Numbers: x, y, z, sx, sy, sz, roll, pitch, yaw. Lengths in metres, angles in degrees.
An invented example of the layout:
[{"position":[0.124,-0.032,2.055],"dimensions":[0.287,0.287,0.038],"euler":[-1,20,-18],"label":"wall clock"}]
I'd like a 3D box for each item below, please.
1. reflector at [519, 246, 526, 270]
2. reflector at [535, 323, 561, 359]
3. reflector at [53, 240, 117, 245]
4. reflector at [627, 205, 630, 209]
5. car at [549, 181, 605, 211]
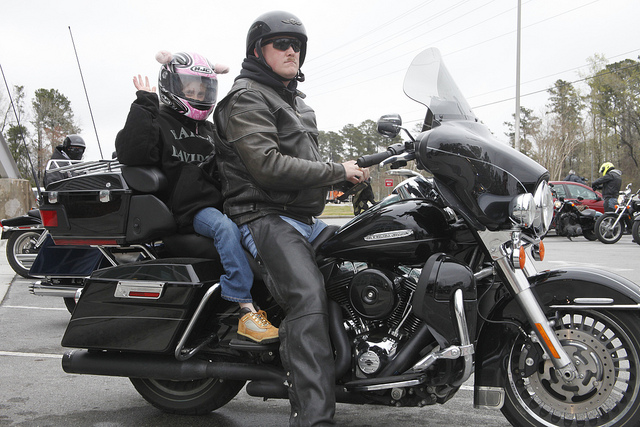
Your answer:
[{"position":[1.311,0.289,2.993],"dimensions":[0.021,0.158,0.100],"euler":[3,5,36],"label":"reflector"},{"position":[1.485,0.814,2.994],"dimensions":[0.037,0.265,0.047],"euler":[-27,-11,-16],"label":"reflector"},{"position":[-1.875,0.224,3.517],"dimensions":[0.357,0.051,0.025],"euler":[0,-9,13],"label":"reflector"},{"position":[9.592,-0.205,14.345],"dimensions":[0.028,0.094,0.070],"euler":[3,6,15],"label":"reflector"},{"position":[8.827,-0.571,15.730],"dimensions":[1.545,0.778,0.946],"euler":[-5,7,-6],"label":"car"}]
